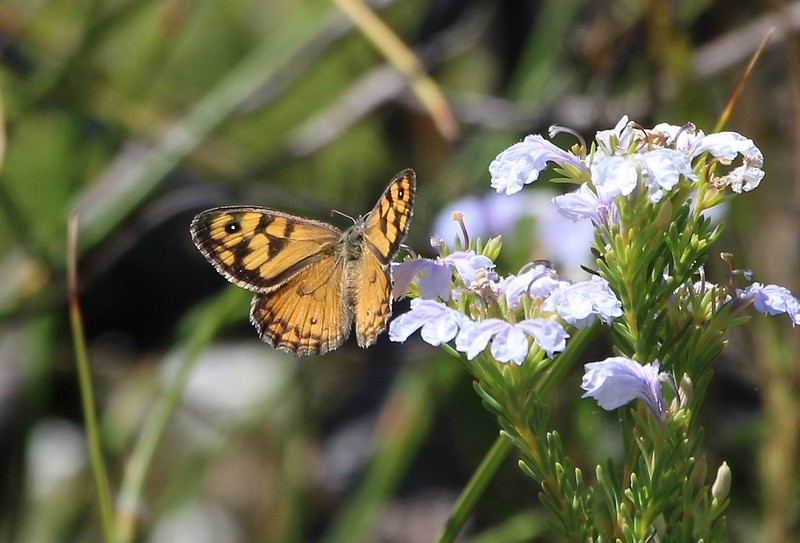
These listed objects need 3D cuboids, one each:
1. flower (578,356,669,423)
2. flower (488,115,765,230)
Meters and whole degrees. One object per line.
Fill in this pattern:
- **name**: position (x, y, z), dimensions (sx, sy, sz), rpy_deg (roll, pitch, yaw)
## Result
- **flower**: position (0.720, 0.372, 3.028), dimensions (0.304, 0.202, 0.088), rpy_deg (3, -19, -18)
- **flower**: position (0.741, -0.349, 3.122), dimensions (0.498, 0.286, 0.504), rpy_deg (0, 5, 19)
